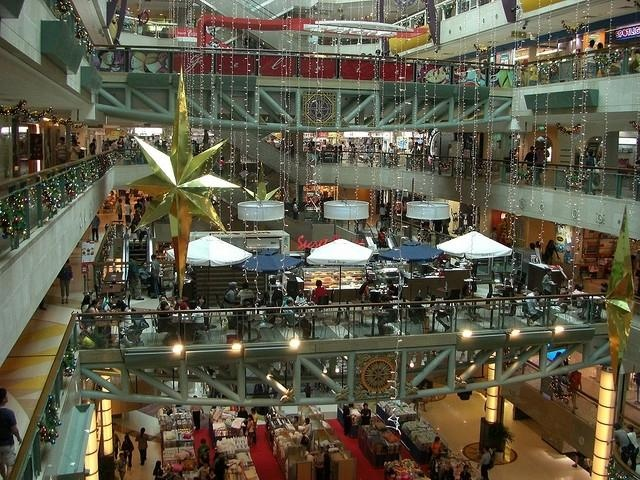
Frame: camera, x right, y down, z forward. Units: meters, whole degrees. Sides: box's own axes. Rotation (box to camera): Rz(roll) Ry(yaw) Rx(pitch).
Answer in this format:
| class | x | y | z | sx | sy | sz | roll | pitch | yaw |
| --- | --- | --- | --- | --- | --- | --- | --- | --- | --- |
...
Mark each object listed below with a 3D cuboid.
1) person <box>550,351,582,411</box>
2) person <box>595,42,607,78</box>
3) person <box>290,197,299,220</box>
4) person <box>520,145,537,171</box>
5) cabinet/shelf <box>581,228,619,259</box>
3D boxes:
| class | x | y | z | sx | sy | sz | roll | pitch | yaw |
| --- | --- | --- | --- | --- | --- | --- | --- | --- | --- |
| person | 9.349 | 5.614 | 20.896 | 0.523 | 1.435 | 1.151 | -2 | 4 | -25 |
| person | 11.249 | -7.133 | 22.085 | 0.200 | 1.190 | 0.646 | -1 | 3 | -6 |
| person | -1.516 | -1.781 | 33.055 | 0.537 | 1.011 | 0.412 | 0 | 3 | 16 |
| person | 9.873 | -3.871 | 25.931 | 0.502 | 1.112 | 1.928 | 0 | 4 | 21 |
| cabinet/shelf | 12.655 | 0.176 | 25.100 | 1.168 | 1.213 | 0.433 | 6 | 7 | 0 |
